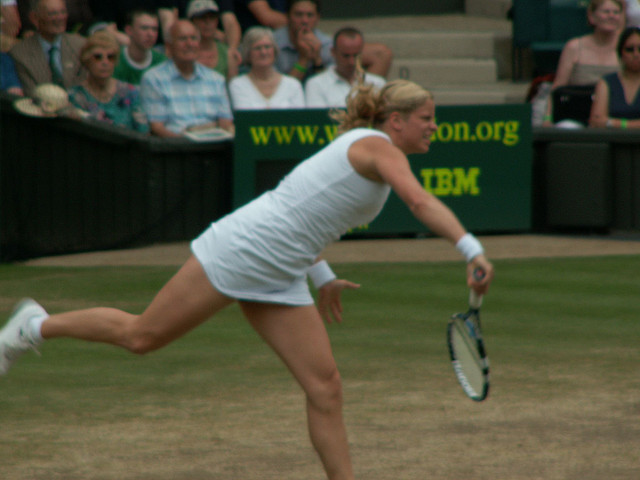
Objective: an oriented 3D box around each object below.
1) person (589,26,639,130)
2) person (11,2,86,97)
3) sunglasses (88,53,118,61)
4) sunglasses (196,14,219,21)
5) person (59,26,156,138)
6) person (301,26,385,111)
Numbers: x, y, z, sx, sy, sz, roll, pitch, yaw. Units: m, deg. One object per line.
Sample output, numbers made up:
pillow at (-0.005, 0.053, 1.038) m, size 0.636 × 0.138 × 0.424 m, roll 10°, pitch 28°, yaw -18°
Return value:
person at (2.785, -1.504, 13.386) m, size 0.502 × 0.906 × 0.288 m, roll -4°, pitch 15°, yaw 5°
person at (-2.540, -1.718, 13.140) m, size 1.000 × 0.831 × 0.261 m, roll -9°, pitch -4°, yaw -45°
sunglasses at (-1.959, -1.636, 12.808) m, size 0.239 × 0.086 × 0.055 m, roll -10°, pitch 15°, yaw -20°
sunglasses at (-1.098, -2.159, 13.879) m, size 0.213 × 0.058 × 0.061 m, roll -10°, pitch 15°, yaw -22°
person at (-1.895, -1.291, 12.974) m, size 0.741 × 1.035 × 0.926 m, roll -5°, pitch 11°, yaw -44°
person at (0.293, -1.593, 13.463) m, size 1.116 × 0.690 × 0.525 m, roll -7°, pitch 9°, yaw -20°
